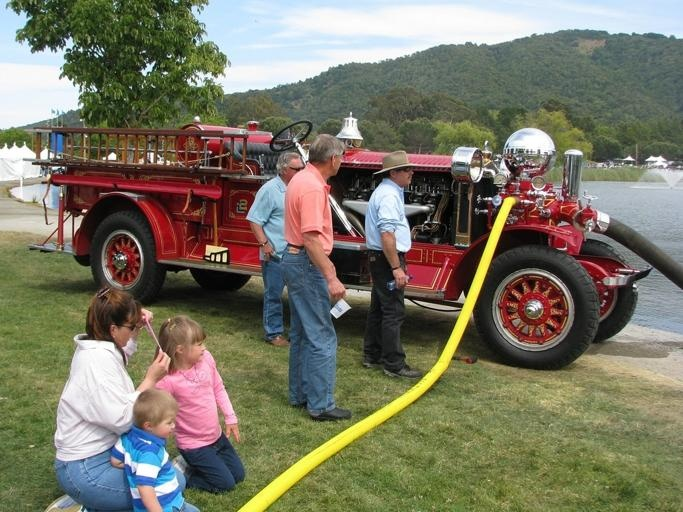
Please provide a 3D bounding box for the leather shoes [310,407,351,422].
[{"bbox_3d":[-0.083,1.218,4.009,0.288,0.119,0.113,-3,1,-9],"label":"leather shoes"}]

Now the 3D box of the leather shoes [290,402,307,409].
[{"bbox_3d":[-0.350,1.199,4.224,0.125,0.056,0.045,-2,-3,17],"label":"leather shoes"}]

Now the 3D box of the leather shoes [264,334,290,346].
[{"bbox_3d":[-0.702,0.944,5.893,0.290,0.213,0.107,-3,-1,26],"label":"leather shoes"}]

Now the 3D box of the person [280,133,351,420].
[{"bbox_3d":[-0.193,0.178,4.008,0.500,2.173,0.513,-1,12,-7],"label":"person"}]

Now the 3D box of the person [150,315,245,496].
[{"bbox_3d":[-0.857,0.880,3.102,0.560,1.018,0.465,-3,6,-19],"label":"person"}]

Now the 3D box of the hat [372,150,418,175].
[{"bbox_3d":[0.483,-0.905,5.113,0.332,0.227,0.468,1,11,3],"label":"hat"}]

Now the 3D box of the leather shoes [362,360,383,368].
[{"bbox_3d":[0.304,1.064,5.249,0.209,0.090,0.074,0,1,-31],"label":"leather shoes"}]

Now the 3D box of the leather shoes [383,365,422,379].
[{"bbox_3d":[0.577,1.106,5.024,0.340,0.157,0.125,-2,0,8],"label":"leather shoes"}]

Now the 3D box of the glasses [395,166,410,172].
[{"bbox_3d":[0.577,-0.810,4.925,0.067,0.032,0.082,-20,5,-25],"label":"glasses"}]

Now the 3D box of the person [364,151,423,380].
[{"bbox_3d":[0.475,0.087,4.987,0.519,2.124,0.566,0,12,2],"label":"person"}]
